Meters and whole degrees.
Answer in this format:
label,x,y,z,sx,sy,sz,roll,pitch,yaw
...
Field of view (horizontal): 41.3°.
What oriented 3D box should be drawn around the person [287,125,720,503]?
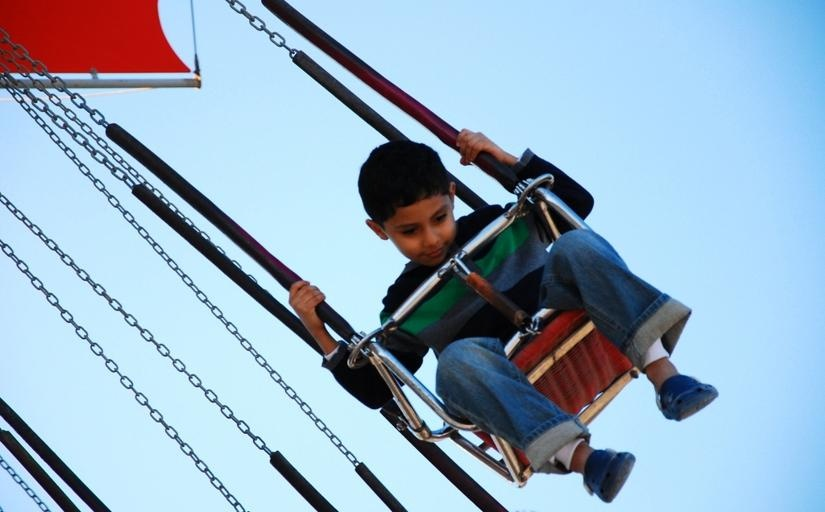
label,x,y,z,sx,sy,sz,roll,pitch,yaw
person,0.321,0.194,4.294,1.184,1.805,0.644,-39,-39,-6
